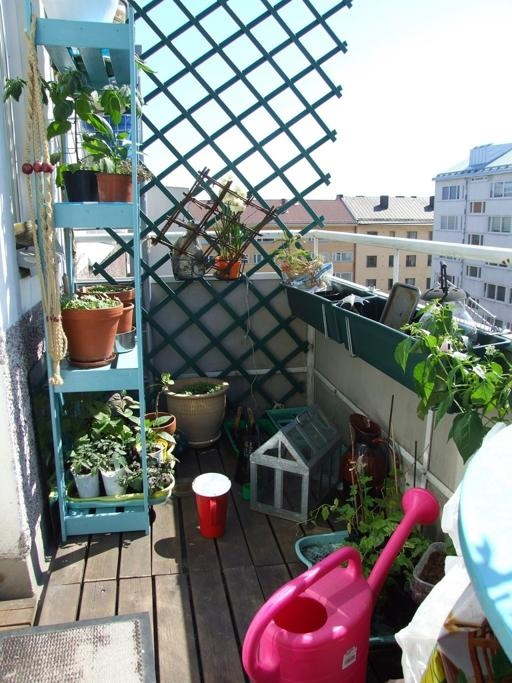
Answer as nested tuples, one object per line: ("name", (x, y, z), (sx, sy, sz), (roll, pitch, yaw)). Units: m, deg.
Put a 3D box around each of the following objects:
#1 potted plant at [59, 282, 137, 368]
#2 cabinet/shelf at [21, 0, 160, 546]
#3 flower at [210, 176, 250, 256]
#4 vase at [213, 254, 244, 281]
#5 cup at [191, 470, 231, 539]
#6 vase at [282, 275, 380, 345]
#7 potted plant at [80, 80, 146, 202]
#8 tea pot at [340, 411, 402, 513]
("potted plant", (-0.503, -0.065, 1.671), (0.279, 0.205, 0.278), (0, 10, -1))
("cabinet/shelf", (-0.553, -0.194, 1.736), (0.377, 1.753, 0.712), (-1, 8, -19))
("flower", (-0.125, -0.598, 2.422), (0.167, 0.380, 0.288), (1, 8, -6))
("vase", (-0.140, -0.375, 2.493), (0.129, 0.089, 0.123), (0, 16, -1))
("cup", (-0.162, 0.592, 1.762), (0.127, 0.212, 0.167), (2, 8, -4))
("vase", (0.291, -0.080, 1.795), (0.190, 0.090, 0.354), (-14, 35, -28))
("potted plant", (-0.498, -0.627, 1.621), (0.191, 0.298, 0.202), (1, 15, 6))
("tea pot", (0.419, 0.423, 1.712), (0.153, 0.249, 0.228), (-19, 17, -42))
